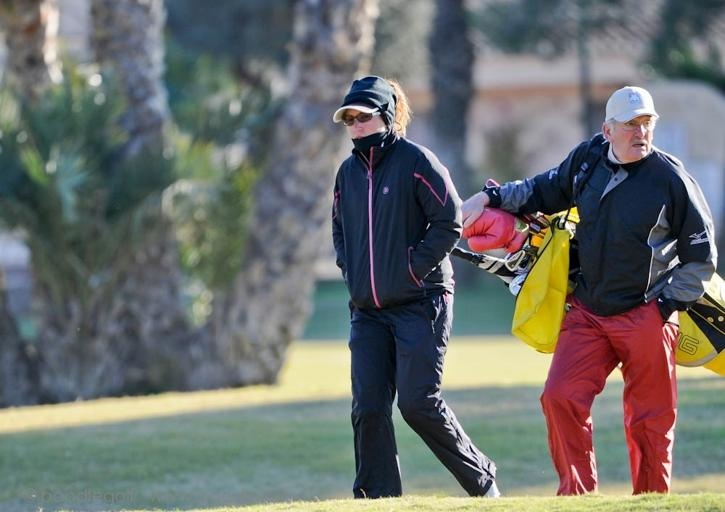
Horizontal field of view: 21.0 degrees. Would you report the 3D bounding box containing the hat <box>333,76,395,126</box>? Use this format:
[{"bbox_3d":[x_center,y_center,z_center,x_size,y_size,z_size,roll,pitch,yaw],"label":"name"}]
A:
[{"bbox_3d":[0.046,-1.548,19.141,0.566,0.358,0.412,16,-23,-38],"label":"hat"}]

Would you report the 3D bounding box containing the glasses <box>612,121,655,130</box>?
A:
[{"bbox_3d":[2.688,-1.259,19.010,0.422,0.110,0.117,-4,0,-12],"label":"glasses"}]
